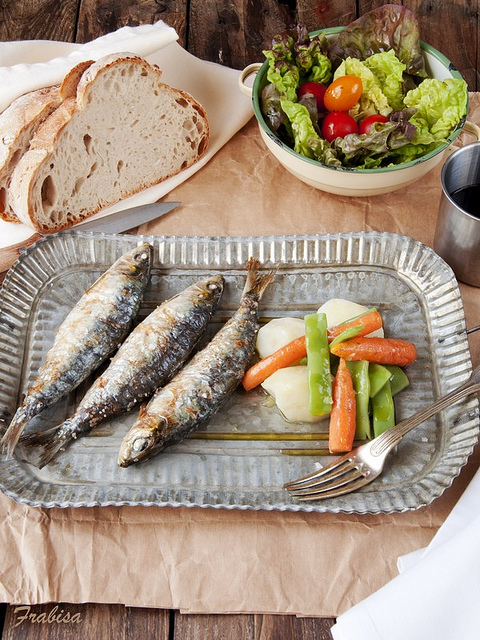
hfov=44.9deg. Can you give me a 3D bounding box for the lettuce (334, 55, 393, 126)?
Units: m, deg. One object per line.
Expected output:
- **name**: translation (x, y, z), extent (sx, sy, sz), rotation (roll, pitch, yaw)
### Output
- **lettuce**: translation (0.399, -0.836, 2.047), extent (0.079, 0.177, 0.251), rotation (-36, 38, 33)

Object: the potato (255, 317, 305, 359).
- **potato**: translation (0.123, 0.041, 1.715), extent (0.121, 0.041, 0.122), rotation (-42, 54, 0)

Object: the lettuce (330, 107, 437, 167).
- **lettuce**: translation (0.505, -0.577, 1.829), extent (0.053, 0.160, 0.134), rotation (-3, 59, -41)

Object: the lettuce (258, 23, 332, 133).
- **lettuce**: translation (0.184, -0.841, 2.042), extent (0.258, 0.174, 0.386), rotation (-10, 70, 0)

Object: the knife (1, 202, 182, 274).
- **knife**: translation (-0.509, -0.260, 1.908), extent (0.706, 0.062, 0.094), rotation (-19, 85, -23)

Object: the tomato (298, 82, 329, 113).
- **tomato**: translation (0.263, -0.789, 2.076), extent (0.106, 0.105, 0.111), rotation (3, 98, 11)

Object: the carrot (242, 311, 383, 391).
- **carrot**: translation (0.209, 0.093, 1.619), extent (0.359, 0.063, 0.072), rotation (-26, 77, 5)

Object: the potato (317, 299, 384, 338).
- **potato**: translation (0.334, -0.010, 1.706), extent (0.150, 0.049, 0.114), rotation (17, 63, 13)

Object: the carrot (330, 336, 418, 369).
- **carrot**: translation (0.380, 0.086, 1.637), extent (0.280, 0.072, 0.089), rotation (4, 48, -5)

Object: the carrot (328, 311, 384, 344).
- **carrot**: translation (0.324, 0.025, 1.633), extent (0.129, 0.036, 0.035), rotation (-21, 44, 4)

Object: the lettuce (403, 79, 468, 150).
- **lettuce**: translation (0.651, -0.713, 1.896), extent (0.183, 0.154, 0.077), rotation (14, 91, -23)
